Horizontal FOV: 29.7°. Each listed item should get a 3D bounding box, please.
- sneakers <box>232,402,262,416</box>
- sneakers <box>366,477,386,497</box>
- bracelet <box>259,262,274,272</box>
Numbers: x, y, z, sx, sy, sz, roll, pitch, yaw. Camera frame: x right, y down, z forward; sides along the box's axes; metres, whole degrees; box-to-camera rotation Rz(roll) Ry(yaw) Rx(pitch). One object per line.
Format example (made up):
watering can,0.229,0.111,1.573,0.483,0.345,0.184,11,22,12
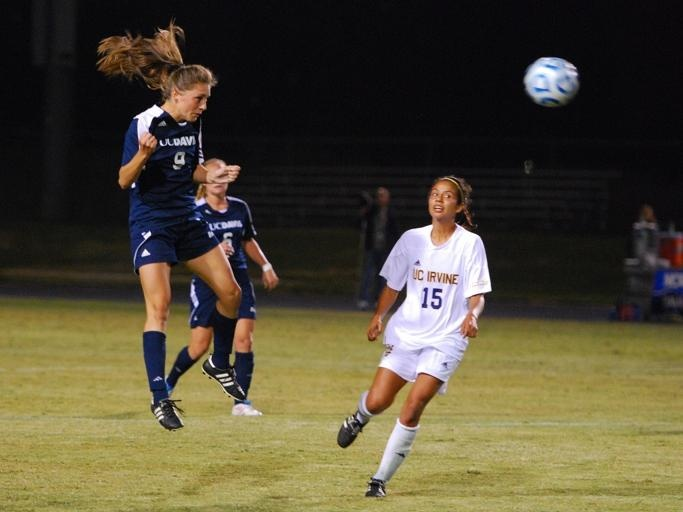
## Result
sneakers,-1.047,1.730,14.511,0.321,0.115,0.137,1,-1,5
sneakers,0.361,2.253,12.489,0.202,0.172,0.128,2,10,-4
bracelet,-0.842,0.143,15.005,0.125,0.115,0.037,-25,-24,-23
